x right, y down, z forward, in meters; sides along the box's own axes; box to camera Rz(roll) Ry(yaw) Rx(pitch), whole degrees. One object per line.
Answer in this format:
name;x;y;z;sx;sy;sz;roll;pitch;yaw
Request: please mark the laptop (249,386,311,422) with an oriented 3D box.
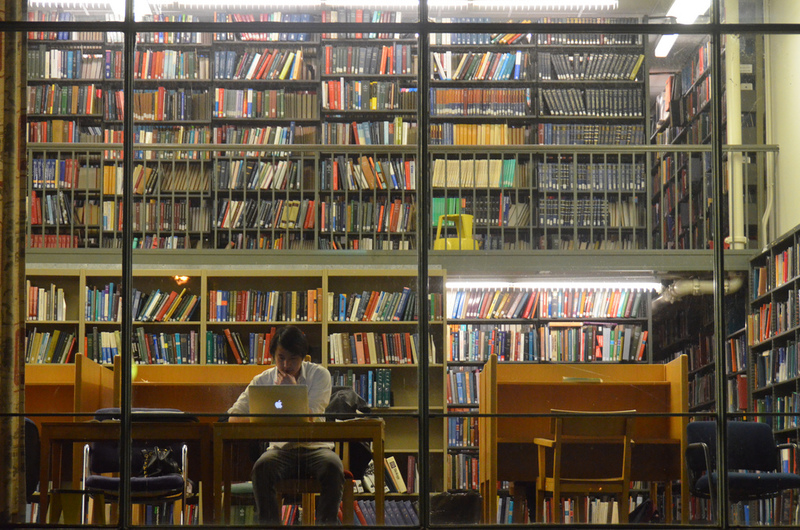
laptop;-0.770;0.852;10.535;0.298;0.217;0.225;-1;-7;2
